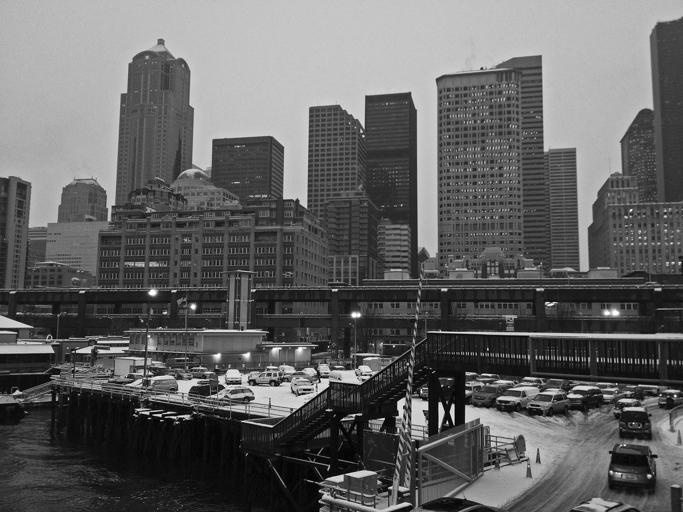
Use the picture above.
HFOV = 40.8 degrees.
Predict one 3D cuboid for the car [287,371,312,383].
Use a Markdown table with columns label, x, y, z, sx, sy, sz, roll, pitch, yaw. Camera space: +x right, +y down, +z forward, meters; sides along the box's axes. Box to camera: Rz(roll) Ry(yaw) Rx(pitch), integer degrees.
| label | x | y | z | sx | sy | sz | roll | pitch | yaw |
| --- | --- | --- | --- | --- | --- | --- | --- | --- | --- |
| car | -5.298 | 15.401 | 117.980 | 2.549 | 1.342 | 1.668 | 3 | -6 | 8 |

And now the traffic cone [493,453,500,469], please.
| label | x | y | z | sx | sy | sz | roll | pitch | yaw |
| --- | --- | --- | --- | --- | --- | --- | --- | --- | --- |
| traffic cone | 14.400 | 19.212 | 85.334 | 0.762 | 1.366 | 0.680 | -4 | 0 | 11 |

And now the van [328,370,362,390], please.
| label | x | y | z | sx | sy | sz | roll | pitch | yaw |
| --- | --- | --- | --- | --- | --- | --- | --- | --- | --- |
| van | 0.746 | 14.538 | 107.170 | 2.306 | 2.324 | 4.630 | 3 | -16 | -25 |

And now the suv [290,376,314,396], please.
| label | x | y | z | sx | sy | sz | roll | pitch | yaw |
| --- | --- | --- | --- | --- | --- | --- | --- | --- | --- |
| suv | -4.663 | 15.485 | 108.349 | 1.885 | 1.781 | 4.457 | 1 | 1 | -6 |
